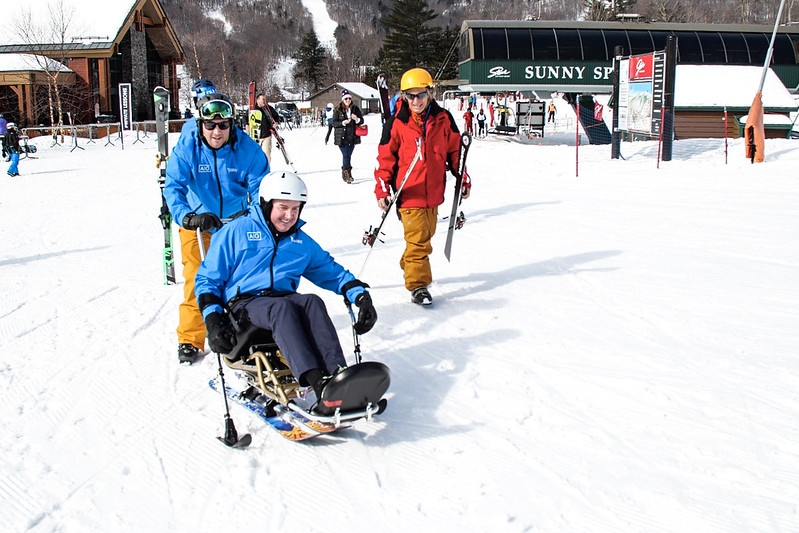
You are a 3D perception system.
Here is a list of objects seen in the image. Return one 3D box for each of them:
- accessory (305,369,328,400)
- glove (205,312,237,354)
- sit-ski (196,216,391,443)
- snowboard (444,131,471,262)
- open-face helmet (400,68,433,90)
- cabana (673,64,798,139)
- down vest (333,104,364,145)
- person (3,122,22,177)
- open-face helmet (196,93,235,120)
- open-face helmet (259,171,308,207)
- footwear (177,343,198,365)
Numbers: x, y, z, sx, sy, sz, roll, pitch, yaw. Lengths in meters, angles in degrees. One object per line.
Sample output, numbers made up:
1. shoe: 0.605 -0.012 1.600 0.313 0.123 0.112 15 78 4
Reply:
1. accessory: -0.629 0.862 4.665 0.113 0.280 0.383 6 -8 -24
2. glove: -1.428 0.525 5.059 0.246 0.358 0.148 -34 -27 21
3. sit-ski: -0.904 0.321 5.163 1.128 2.000 2.038 -5 7 -39
4. snowboard: 0.727 -0.690 7.818 0.212 1.919 0.220 6 12 -9
5. open-face helmet: 0.176 -2.105 7.041 0.356 0.234 0.313 -2 16 0
6. cabana: 13.426 -6.673 25.229 4.095 2.901 3.716 5 17 23
7. down vest: -1.404 -3.602 15.844 0.735 0.955 0.538 -5 11 -29
8. person: -12.633 -3.799 20.083 0.482 1.505 4.122 -11 18 -30
9. open-face helmet: -1.773 -1.506 5.976 0.223 0.265 0.308 -1 -10 -31
10. open-face helmet: -0.984 -0.647 5.244 0.260 0.303 0.342 -9 10 -38
11. footwear: -2.140 0.877 6.218 0.151 0.190 0.146 15 53 -1
